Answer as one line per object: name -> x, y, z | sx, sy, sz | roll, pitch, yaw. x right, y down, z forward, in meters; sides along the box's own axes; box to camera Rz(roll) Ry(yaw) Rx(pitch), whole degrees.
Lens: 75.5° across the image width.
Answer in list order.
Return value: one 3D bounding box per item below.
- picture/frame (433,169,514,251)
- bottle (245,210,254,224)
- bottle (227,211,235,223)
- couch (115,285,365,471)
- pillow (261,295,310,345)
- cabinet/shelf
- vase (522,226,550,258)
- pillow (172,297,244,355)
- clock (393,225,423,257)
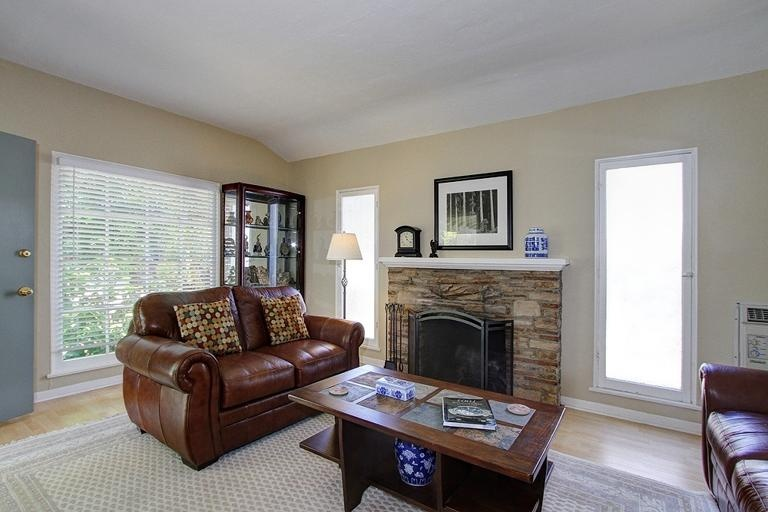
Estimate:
picture/frame -> 1.088, -0.536, 5.817 | 1.037, 1.004, 0.077 | 0, -1, 30
bottle -> -1.803, -0.533, 6.668 | 0.024, 0.182, 0.122 | 0, 3, 35
bottle -> -2.039, -0.516, 6.638 | 0.137, 0.154, 0.010 | -1, 2, 14
couch -> -1.374, 1.039, 5.261 | 1.375, 1.384, 2.388 | 4, 4, 37
pillow -> -1.081, 0.685, 5.442 | 0.529, 0.481, 0.157 | -2, -15, -44
cabinet/shelf -> -1.659, -0.236, 6.904 | 1.153, 1.471, 0.335 | -3, 3, -39
vase -> 1.655, -0.145, 5.381 | 0.226, 0.314, 0.096 | -2, 2, 8
pillow -> -1.736, 0.690, 4.903 | 0.167, 0.519, 0.569 | -33, -18, 32
clock -> 0.314, -0.191, 6.124 | 0.403, 0.472, 0.188 | -3, -5, 31
